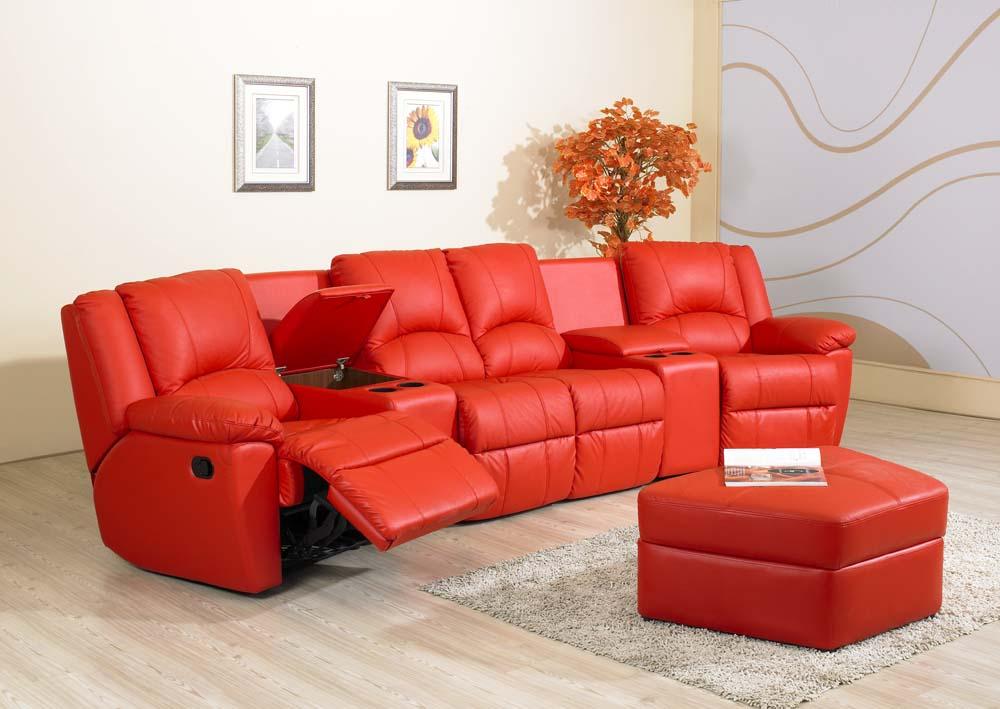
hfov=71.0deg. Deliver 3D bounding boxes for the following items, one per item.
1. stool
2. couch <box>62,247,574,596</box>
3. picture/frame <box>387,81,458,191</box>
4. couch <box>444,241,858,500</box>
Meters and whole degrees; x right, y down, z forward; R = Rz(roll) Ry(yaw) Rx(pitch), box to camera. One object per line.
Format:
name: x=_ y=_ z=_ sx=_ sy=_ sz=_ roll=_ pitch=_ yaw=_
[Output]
stool: x=1.051 y=0.689 z=2.560 sx=1.062 sy=0.380 sz=0.927 roll=1 pitch=-4 yaw=-15
couch: x=-0.916 y=0.286 z=3.051 sx=1.609 sy=0.863 sz=1.357 roll=20 pitch=17 yaw=41
picture/frame: x=-0.636 y=-1.712 z=5.539 sx=0.629 sy=0.831 sz=0.068 roll=-8 pitch=12 yaw=-34
couch: x=1.188 y=-0.040 z=4.493 sx=2.126 sy=1.099 sz=1.172 roll=-8 pitch=20 yaw=-40
